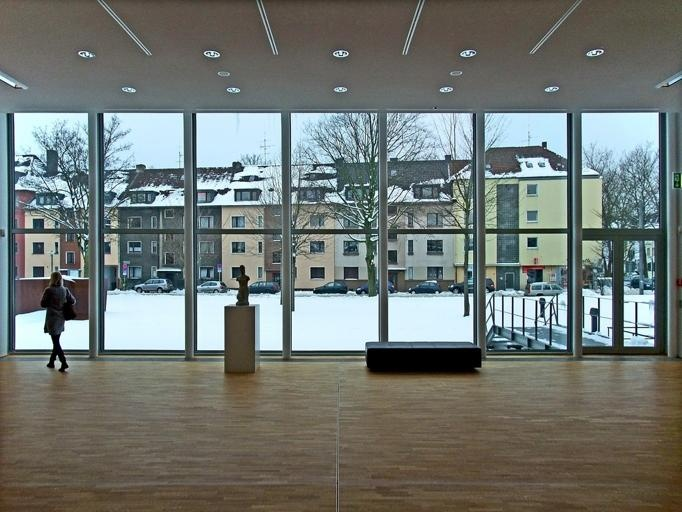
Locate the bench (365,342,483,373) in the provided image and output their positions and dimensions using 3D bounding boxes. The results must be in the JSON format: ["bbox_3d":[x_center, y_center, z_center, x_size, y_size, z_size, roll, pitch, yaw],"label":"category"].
[{"bbox_3d":[1.436,1.749,12.009,1.935,0.454,0.530,-1,-2,1],"label":"bench"}]

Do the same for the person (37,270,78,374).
[{"bbox_3d":[-4.853,1.114,12.052,0.529,1.674,0.579,0,-1,1],"label":"person"}]
